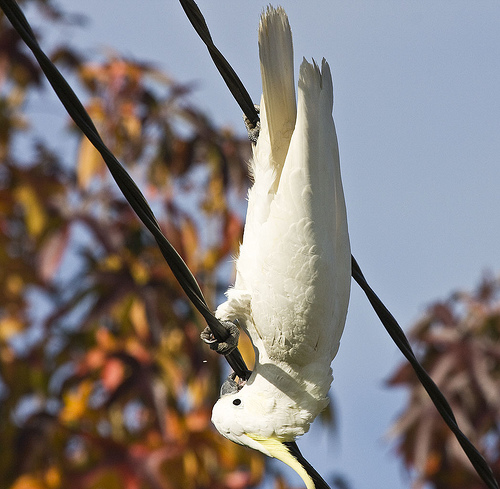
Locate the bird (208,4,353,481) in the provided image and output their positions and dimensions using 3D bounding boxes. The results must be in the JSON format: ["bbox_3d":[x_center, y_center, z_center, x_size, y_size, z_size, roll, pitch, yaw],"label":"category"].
[{"bbox_3d":[0.123,0.010,5.966,0.465,1.672,0.923,0,-26,43],"label":"bird"}]
